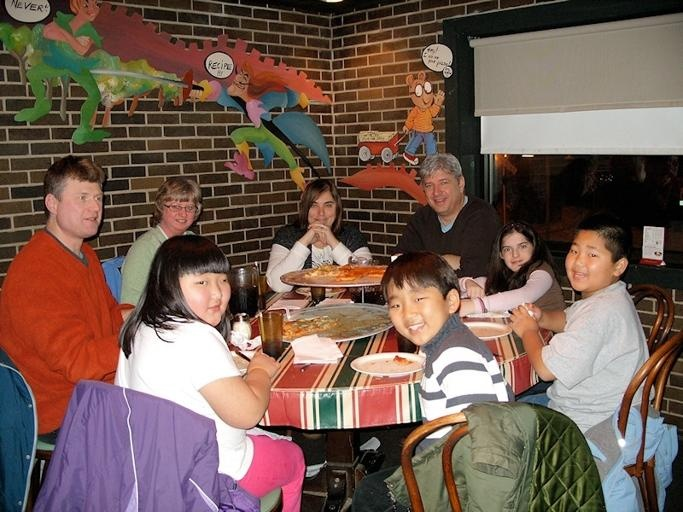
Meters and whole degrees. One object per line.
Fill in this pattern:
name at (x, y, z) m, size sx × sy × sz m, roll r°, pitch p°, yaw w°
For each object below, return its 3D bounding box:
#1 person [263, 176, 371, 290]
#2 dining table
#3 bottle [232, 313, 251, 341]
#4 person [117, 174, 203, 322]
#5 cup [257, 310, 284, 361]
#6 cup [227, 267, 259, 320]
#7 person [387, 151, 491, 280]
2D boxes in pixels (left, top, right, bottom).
person at (-0.179, 0.013, 3.442) m, size 0.697 × 1.039 × 0.558 m, roll -5°, pitch 15°, yaw -18°
dining table at (0.041, 0.448, 1.726) m, size 0.813 × 0.513 × 0.848 m, roll 1°, pitch 19°, yaw 7°
bottle at (-0.417, 0.304, 2.059) m, size 0.091 × 0.130 × 0.093 m, roll -1°, pitch -4°, yaw 0°
person at (-1.002, -0.027, 2.883) m, size 0.545 × 0.834 × 0.444 m, roll 3°, pitch 1°, yaw -42°
cup at (-0.283, 0.318, 1.899) m, size 0.100 × 0.175 × 0.104 m, roll 0°, pitch -4°, yaw 0°
cup at (-0.483, 0.181, 2.422) m, size 0.188 × 0.251 × 0.153 m, roll -5°, pitch 3°, yaw 10°
person at (0.687, -0.235, 3.259) m, size 0.571 × 0.914 × 0.673 m, roll -24°, pitch 19°, yaw -40°
